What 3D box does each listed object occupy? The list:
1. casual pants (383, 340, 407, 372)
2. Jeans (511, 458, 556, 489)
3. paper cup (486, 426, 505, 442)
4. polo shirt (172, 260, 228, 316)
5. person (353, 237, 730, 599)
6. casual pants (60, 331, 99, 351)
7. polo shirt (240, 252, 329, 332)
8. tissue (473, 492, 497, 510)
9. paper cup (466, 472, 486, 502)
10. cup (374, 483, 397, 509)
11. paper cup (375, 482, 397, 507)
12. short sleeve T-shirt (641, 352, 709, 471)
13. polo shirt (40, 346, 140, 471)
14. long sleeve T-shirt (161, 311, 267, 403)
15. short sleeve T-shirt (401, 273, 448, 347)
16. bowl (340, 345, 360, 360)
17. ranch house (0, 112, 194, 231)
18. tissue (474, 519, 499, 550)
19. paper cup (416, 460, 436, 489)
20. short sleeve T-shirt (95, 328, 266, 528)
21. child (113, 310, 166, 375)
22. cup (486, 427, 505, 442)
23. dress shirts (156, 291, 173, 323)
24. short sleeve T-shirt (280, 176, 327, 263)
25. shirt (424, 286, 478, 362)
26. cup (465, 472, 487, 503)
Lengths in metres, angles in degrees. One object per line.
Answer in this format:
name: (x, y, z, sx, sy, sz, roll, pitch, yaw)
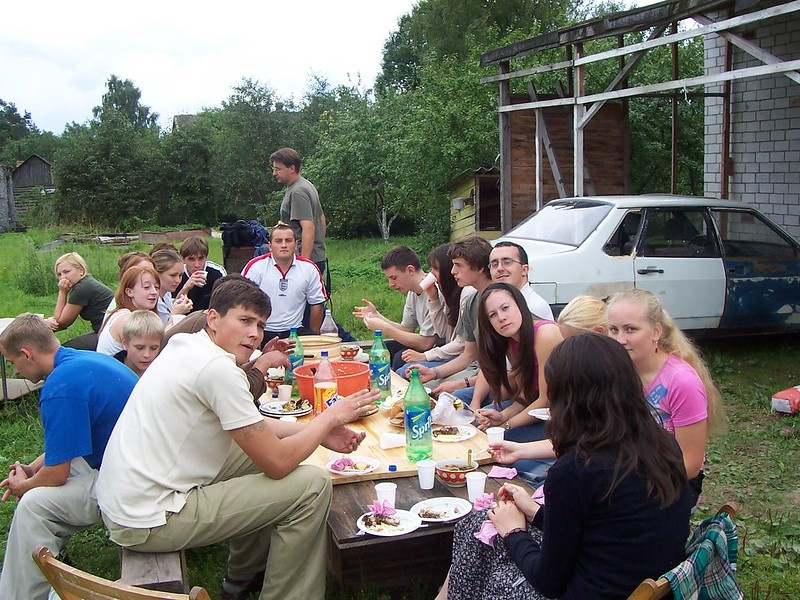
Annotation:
casual pants: (-0.028, 0.597, 6.509, 0.087, 0.273, 0.265, -2, -11, 32)
Jeans: (0.779, 1.022, 3.512, 0.264, 0.094, 0.296, -3, 3, -39)
paper cup: (0.567, 0.792, 3.508, 0.107, 0.083, 0.110, -1, -4, 0)
polo shirt: (-1.995, -0.111, 5.733, 0.420, 0.588, 0.336, 24, -5, -7)
person: (0.723, 0.630, 3.538, 1.850, 2.643, 1.003, 6, -1, -7)
casual pants: (-3.521, 0.447, 6.461, 0.450, 0.138, 0.268, 0, 2, 10)
polo shirt: (-1.355, -0.117, 6.741, 1.024, 0.917, 0.452, -1, 12, -20)
tissue: (0.419, 1.003, 2.961, 0.067, 0.041, 0.090, -5, 2, 1)
paper cup: (0.388, 0.965, 3.068, 0.124, 0.126, 0.127, 0, -4, 0)
cup: (-0.071, 0.980, 2.997, 0.114, 0.095, 0.121, -2, -4, 0)
paper cup: (-0.070, 0.979, 2.997, 0.113, 0.095, 0.120, -2, -4, 0)
short sleeve T-shirt: (1.584, 0.531, 3.329, 0.275, 0.504, 0.512, -14, 12, 10)
polo shirt: (-1.738, 0.618, 3.276, 0.321, 0.541, 0.625, 12, 10, 18)
long sleeve T-shirt: (-1.011, 0.329, 3.262, 0.534, 0.262, 0.405, 33, -9, 13)
short sleeve T-shirt: (0.256, 0.091, 6.047, 0.395, 0.788, 0.533, -3, 19, -26)
bowl: (-0.436, 0.465, 5.247, 0.124, 0.084, 0.129, 1, -4, 0)
ranch house: (-15.520, -7.653, 34.326, 8.131, 7.031, 2.725, -6, 7, -23)
tissue: (0.396, 1.062, 2.677, 0.093, 0.101, 0.033, 34, -10, 3)
paper cup: (0.124, 0.957, 3.260, 0.131, 0.133, 0.135, -1, -4, 0)
short sleeve T-shirt: (-0.996, 0.619, 3.298, 0.871, 1.052, 0.865, 12, 8, 16)
child: (-1.946, 0.344, 4.458, 0.339, 0.544, 0.320, 26, 19, 34)
cup: (0.568, 0.792, 3.491, 0.101, 0.079, 0.104, -1, -4, 0)
dress shirts: (-2.380, 0.071, 5.923, 0.149, 0.278, 0.279, -3, 8, -2)
short sleeve T-shirt: (-1.295, -1.069, 7.705, 0.548, 1.069, 0.804, -3, 16, -10)
shirt: (0.528, 0.137, 5.785, 0.595, 0.813, 0.561, 1, 15, -4)
cup: (0.389, 0.969, 3.065, 0.126, 0.127, 0.129, -1, -4, 0)
